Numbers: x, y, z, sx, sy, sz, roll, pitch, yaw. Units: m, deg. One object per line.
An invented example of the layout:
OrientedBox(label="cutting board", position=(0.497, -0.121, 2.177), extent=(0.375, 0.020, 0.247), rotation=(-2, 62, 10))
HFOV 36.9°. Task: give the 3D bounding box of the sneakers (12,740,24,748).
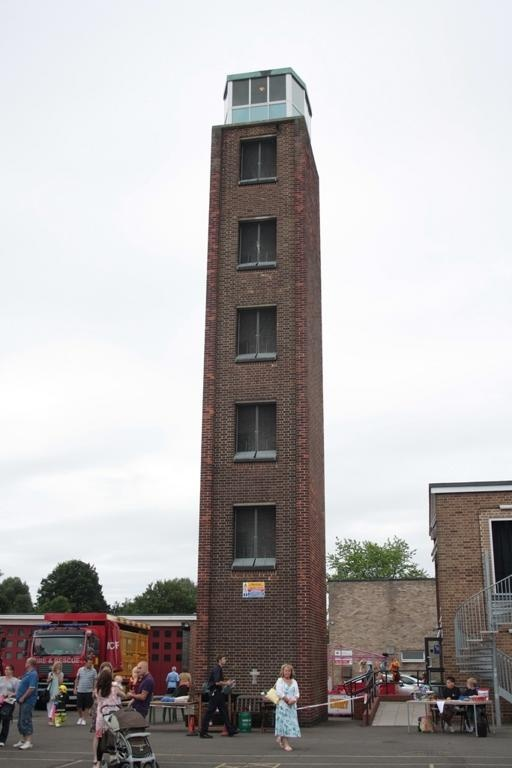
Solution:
OrientedBox(label="sneakers", position=(-4.393, 6.691, 14.265), extent=(0.137, 0.151, 0.369), rotation=(26, -23, -10))

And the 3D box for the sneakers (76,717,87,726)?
OrientedBox(label="sneakers", position=(-4.642, 9.004, 20.492), extent=(0.182, 0.207, 0.521), rotation=(-2, -28, 2))

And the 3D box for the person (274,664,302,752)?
OrientedBox(label="person", position=(0.518, 5.585, 13.317), extent=(0.390, 1.362, 0.628), rotation=(-3, -18, 8))
